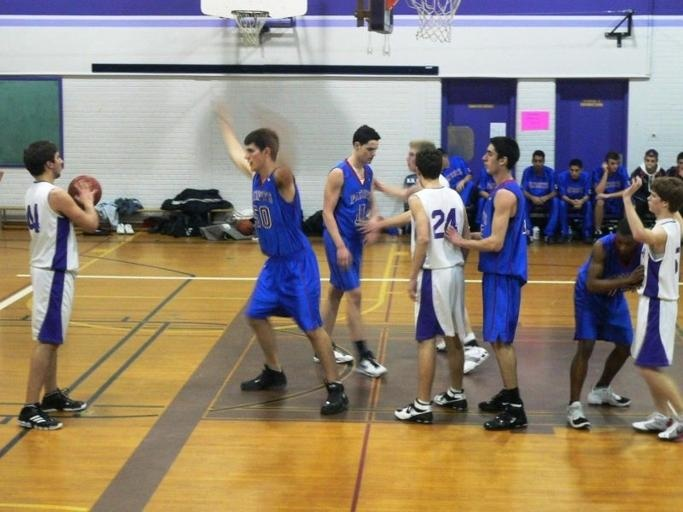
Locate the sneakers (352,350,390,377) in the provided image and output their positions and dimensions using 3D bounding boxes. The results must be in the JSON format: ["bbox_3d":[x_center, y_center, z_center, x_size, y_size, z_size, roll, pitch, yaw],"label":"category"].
[{"bbox_3d":[0.276,0.997,6.398,0.307,0.181,0.150,3,5,40],"label":"sneakers"}]

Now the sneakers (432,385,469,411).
[{"bbox_3d":[0.895,1.159,5.735,0.303,0.149,0.146,7,8,41],"label":"sneakers"}]

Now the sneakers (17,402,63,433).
[{"bbox_3d":[-2.276,1.249,5.359,0.409,0.203,0.147,3,3,-1],"label":"sneakers"}]

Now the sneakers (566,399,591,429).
[{"bbox_3d":[1.833,1.237,5.340,0.105,0.137,0.286,-1,-2,-4],"label":"sneakers"}]

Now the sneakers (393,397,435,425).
[{"bbox_3d":[0.581,1.229,5.532,0.361,0.176,0.139,2,0,31],"label":"sneakers"}]

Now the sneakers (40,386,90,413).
[{"bbox_3d":[-2.264,1.189,5.732,0.446,0.219,0.147,1,5,-10],"label":"sneakers"}]

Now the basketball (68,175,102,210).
[{"bbox_3d":[-2.086,-0.530,5.735,0.262,0.262,0.168,16,-11,-10],"label":"basketball"}]

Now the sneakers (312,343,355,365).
[{"bbox_3d":[-0.010,0.936,6.725,0.500,0.226,0.173,2,2,17],"label":"sneakers"}]

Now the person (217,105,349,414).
[{"bbox_3d":[-0.432,0.104,5.643,0.926,2.255,0.426,7,16,28],"label":"person"}]

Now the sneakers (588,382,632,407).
[{"bbox_3d":[2.180,1.139,5.712,0.341,0.153,0.156,2,4,2],"label":"sneakers"}]
